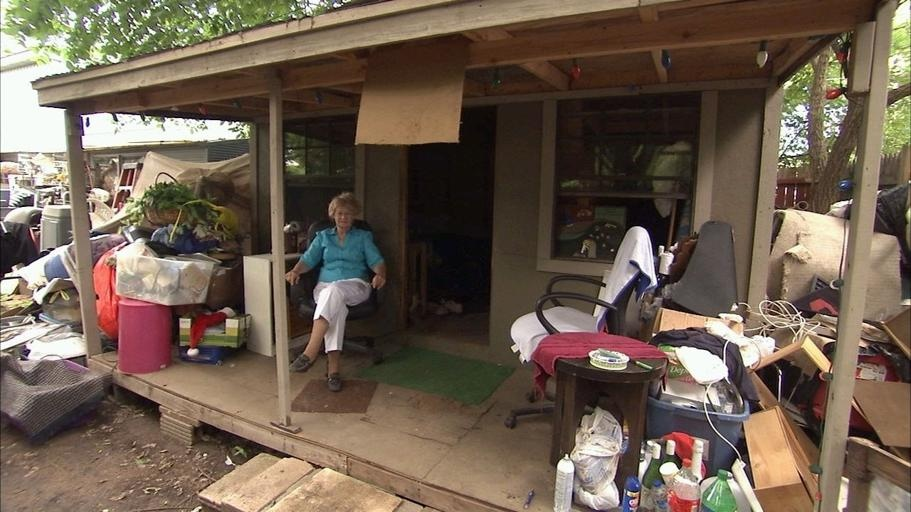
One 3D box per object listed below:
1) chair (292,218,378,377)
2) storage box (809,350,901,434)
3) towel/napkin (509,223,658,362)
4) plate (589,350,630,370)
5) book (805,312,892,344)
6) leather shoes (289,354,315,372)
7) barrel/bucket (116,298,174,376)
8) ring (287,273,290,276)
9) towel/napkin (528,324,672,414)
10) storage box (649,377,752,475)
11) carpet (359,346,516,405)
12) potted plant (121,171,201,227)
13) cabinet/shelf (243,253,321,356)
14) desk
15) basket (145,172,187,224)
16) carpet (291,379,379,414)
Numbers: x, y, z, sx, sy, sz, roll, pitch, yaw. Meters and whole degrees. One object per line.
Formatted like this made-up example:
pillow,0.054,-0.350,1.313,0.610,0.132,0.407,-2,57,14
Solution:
chair,-1.376,0.388,6.818,0.974,1.720,1.109,6,13,26
storage box,3.728,1.274,5.675,0.943,0.825,0.318,10,-11,16
towel/napkin,1.248,0.381,5.974,1.490,1.279,1.097,-1,8,11
plate,1.298,0.883,5.103,0.348,0.122,0.187,3,12,14
book,3.740,0.704,5.743,0.461,0.112,0.362,11,5,31
leather shoes,-1.674,1.170,6.554,0.161,0.107,0.292,2,2,16
barrel/bucket,-3.449,0.892,6.642,0.567,0.789,0.283,-3,13,-15
ring,-1.879,0.209,6.771,0.020,0.024,0.026,27,-21,-36
towel/napkin,1.146,0.903,5.245,0.778,0.274,0.776,-2,7,27
storage box,2.134,1.498,5.554,0.966,0.947,0.690,0,-5,8
carpet,-0.232,1.335,6.871,1.588,0.060,1.071,7,15,29
potted plant,-3.655,-0.802,7.551,0.707,0.515,0.709,-7,11,-8
cabinet/shelf,-1.974,0.542,6.807,0.477,1.098,1.289,-2,2,21
desk,1.305,1.385,5.311,1.004,0.956,0.991,7,-20,-25
basket,-3.582,-0.642,7.475,0.575,0.507,0.410,-3,12,-16
carpet,-1.262,1.460,6.286,0.811,0.801,0.007,18,43,-27
